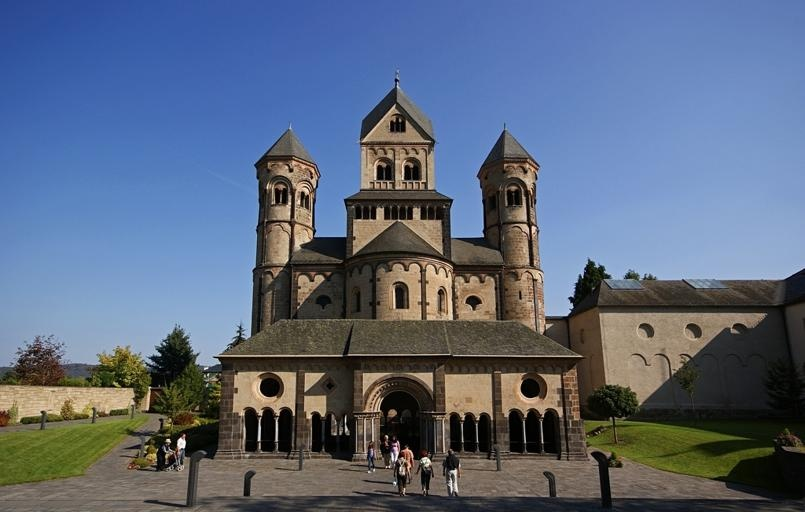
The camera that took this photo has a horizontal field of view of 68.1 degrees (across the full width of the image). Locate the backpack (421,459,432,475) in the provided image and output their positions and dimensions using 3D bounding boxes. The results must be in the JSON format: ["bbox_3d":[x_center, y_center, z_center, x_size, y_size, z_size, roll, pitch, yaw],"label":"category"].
[{"bbox_3d":[1.532,13.675,38.624,0.555,0.960,0.388,2,-19,-6],"label":"backpack"}]

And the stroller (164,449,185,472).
[{"bbox_3d":[-17.162,15.444,44.867,1.097,1.685,1.527,-6,-62,-1],"label":"stroller"}]
